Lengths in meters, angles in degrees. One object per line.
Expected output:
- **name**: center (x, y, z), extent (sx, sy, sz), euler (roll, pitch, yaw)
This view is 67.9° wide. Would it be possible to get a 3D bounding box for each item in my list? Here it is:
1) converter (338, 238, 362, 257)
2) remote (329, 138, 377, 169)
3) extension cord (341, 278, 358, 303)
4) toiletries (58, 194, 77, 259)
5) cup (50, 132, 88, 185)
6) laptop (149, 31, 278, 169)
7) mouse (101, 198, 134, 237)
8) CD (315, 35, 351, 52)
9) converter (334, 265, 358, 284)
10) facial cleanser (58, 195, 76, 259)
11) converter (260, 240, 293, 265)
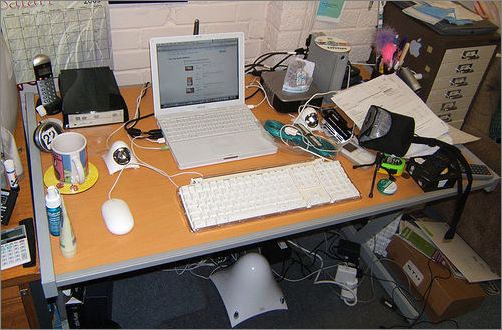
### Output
- **converter**: center (0.633, 0.531, 2.380), extent (0.145, 0.035, 0.107), euler (4, 77, 4)
- **remote**: center (0.529, -0.056, 1.862), extent (0.103, 0.029, 0.202), euler (-34, 57, -21)
- **extension cord**: center (0.613, 0.776, 2.302), extent (0.105, 0.039, 0.145), euler (12, 82, 14)
- **toiletries**: center (-0.712, 0.250, 1.448), extent (0.071, 0.300, 0.072), euler (-6, 40, -22)
- **cup**: center (-0.772, -0.040, 1.642), extent (0.140, 0.163, 0.236), euler (-9, 44, -30)
- **laptop**: center (-0.204, -0.298, 1.851), extent (0.594, 0.395, 0.626), euler (-10, 43, -22)
- **mouse**: center (-0.541, 0.211, 1.504), extent (0.103, 0.039, 0.153), euler (-21, 64, -20)
- **CD**: center (0.456, -0.669, 2.069), extent (0.206, 0.040, 0.136), euler (27, 44, 29)
- **converter**: center (0.596, 0.679, 2.309), extent (0.103, 0.101, 0.054), euler (6, 22, 4)
- **facial cleanser**: center (-0.713, 0.250, 1.446), extent (0.071, 0.299, 0.072), euler (-12, 42, -28)
- **converter**: center (0.153, 0.556, 2.392), extent (0.171, 0.159, 0.041), euler (-14, 13, -8)
